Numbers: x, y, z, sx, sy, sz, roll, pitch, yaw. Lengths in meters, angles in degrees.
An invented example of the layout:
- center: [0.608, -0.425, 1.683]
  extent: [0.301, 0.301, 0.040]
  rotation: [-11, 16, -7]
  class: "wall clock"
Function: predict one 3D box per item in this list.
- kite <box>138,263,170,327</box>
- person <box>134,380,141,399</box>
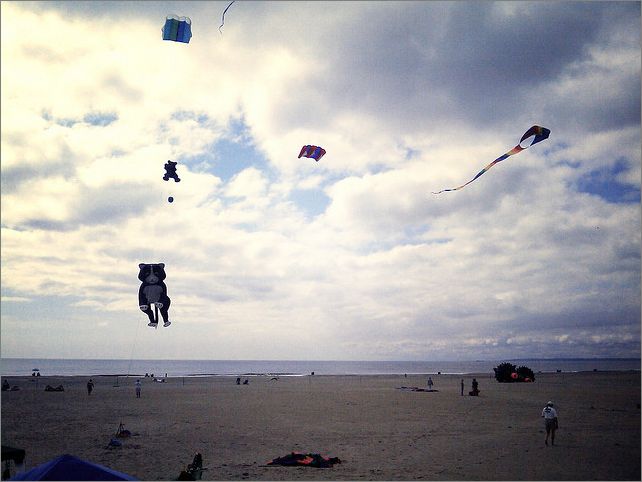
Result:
- center: [-10.572, 3.382, 36.633]
  extent: [1.845, 4.085, 2.320]
  rotation: [3, -11, -18]
  class: "kite"
- center: [-14.729, 11.969, 46.749]
  extent: [0.362, 1.316, 1.897]
  rotation: [3, -11, -16]
  class: "person"
